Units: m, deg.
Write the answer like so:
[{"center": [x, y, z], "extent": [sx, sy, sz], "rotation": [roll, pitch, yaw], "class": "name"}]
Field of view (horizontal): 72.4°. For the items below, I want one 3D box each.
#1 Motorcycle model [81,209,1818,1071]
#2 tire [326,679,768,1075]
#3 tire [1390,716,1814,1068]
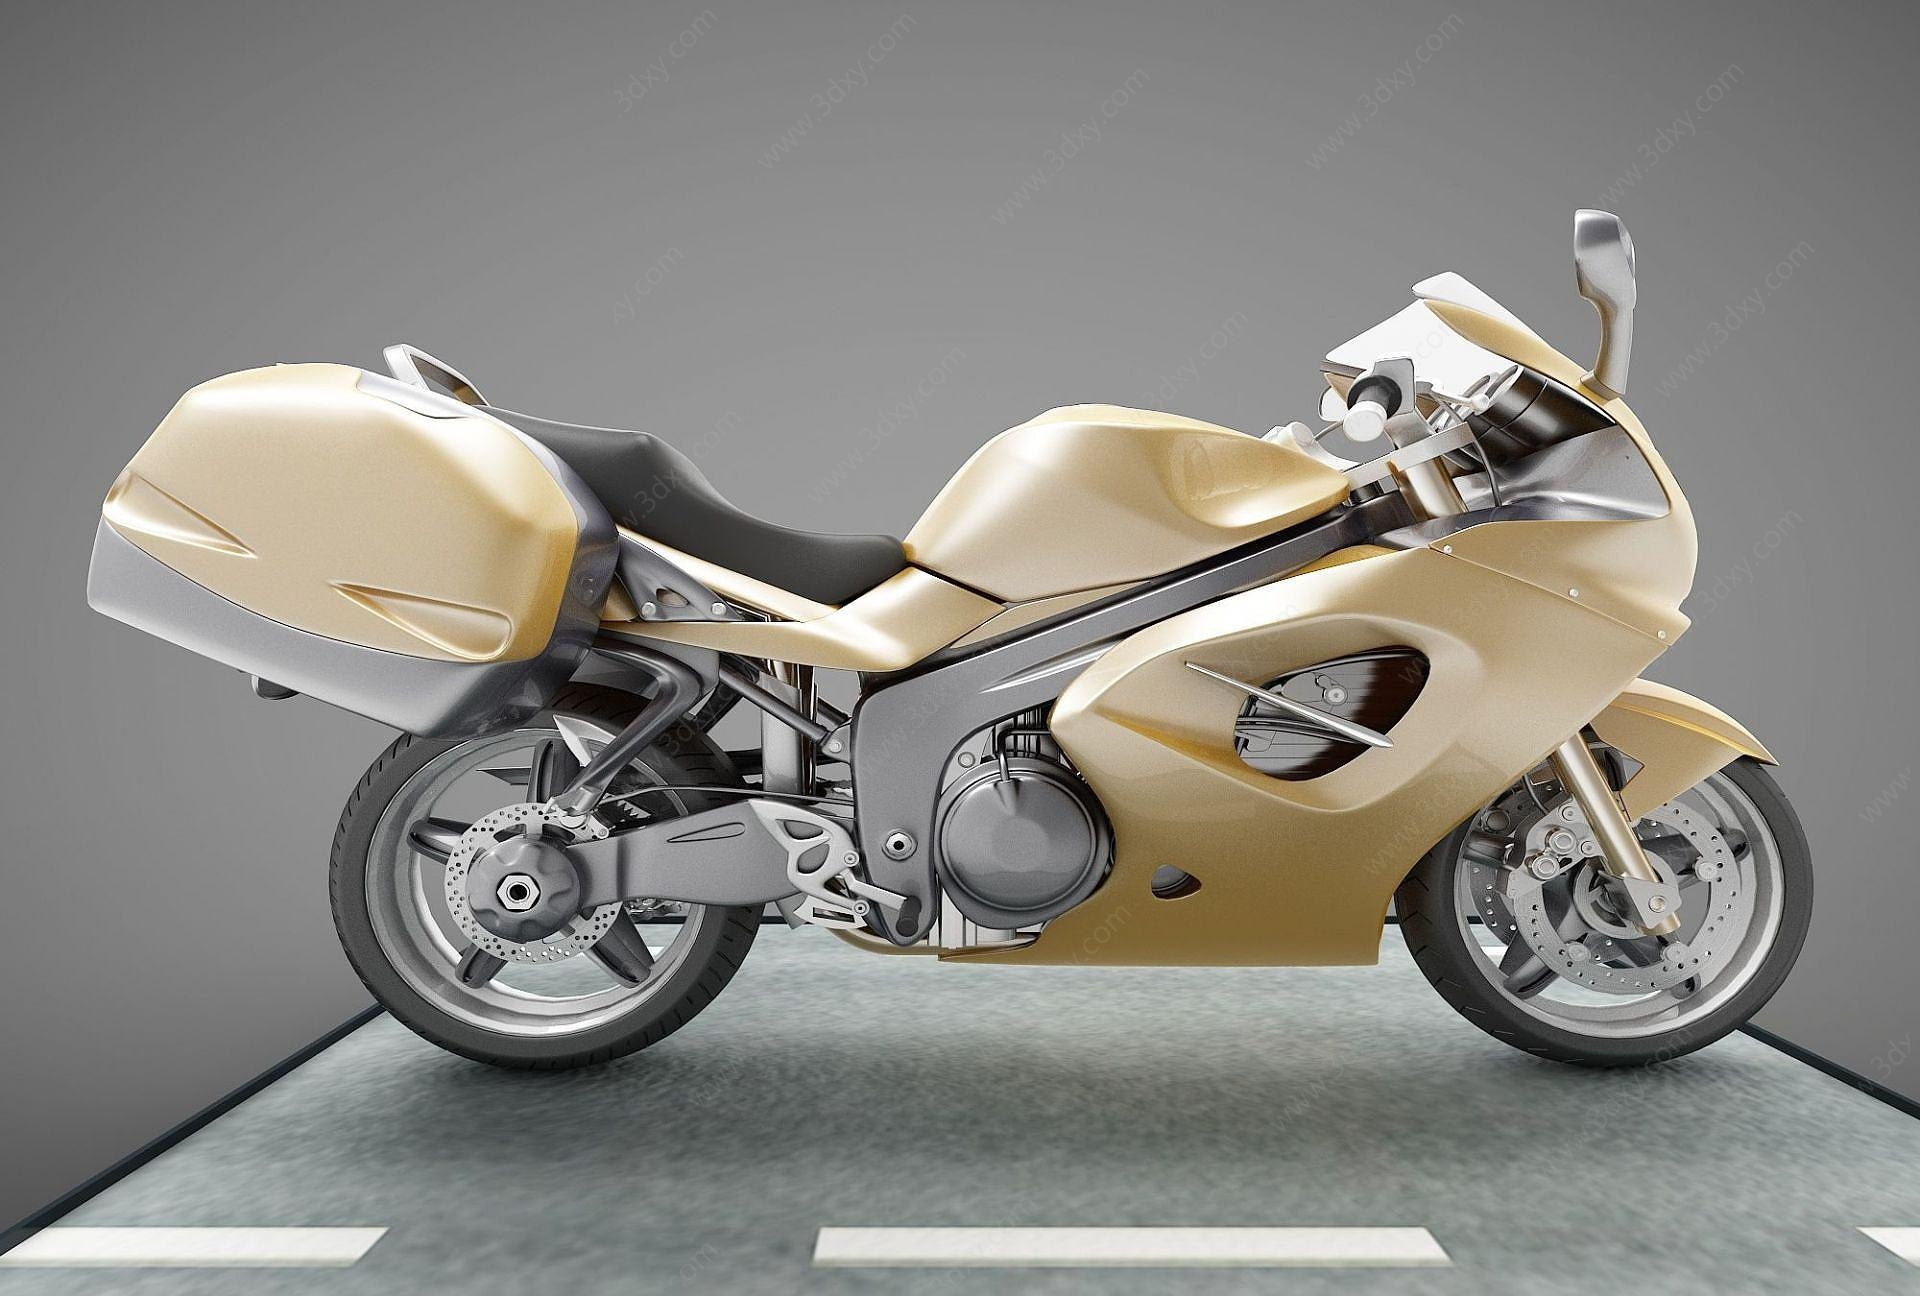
[{"center": [0.091, 0.104, 2.417], "extent": [3.061, 0.990, 0.823], "rotation": [6, -10, -3], "class": "Motorcycle model"}, {"center": [-0.747, 0.431, 2.415], "extent": [1.253, 0.757, 0.186], "rotation": [2, 6, 1], "class": "tire"}, {"center": [1.175, 0.451, 2.417], "extent": [1.157, 0.738, 0.188], "rotation": [-1, 0, 2], "class": "tire"}]
